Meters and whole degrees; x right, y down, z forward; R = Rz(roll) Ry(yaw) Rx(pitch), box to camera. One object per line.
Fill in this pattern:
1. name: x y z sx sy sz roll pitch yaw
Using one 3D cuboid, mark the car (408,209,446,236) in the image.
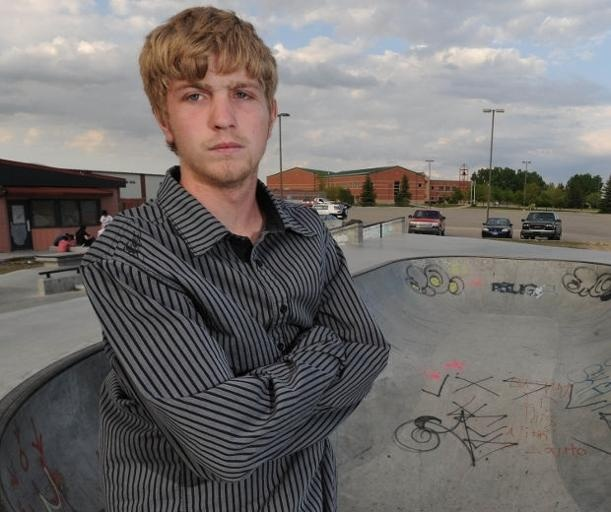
1. car: 4.649 -1.323 18.594 0.866 0.662 1.587 0 0 14
